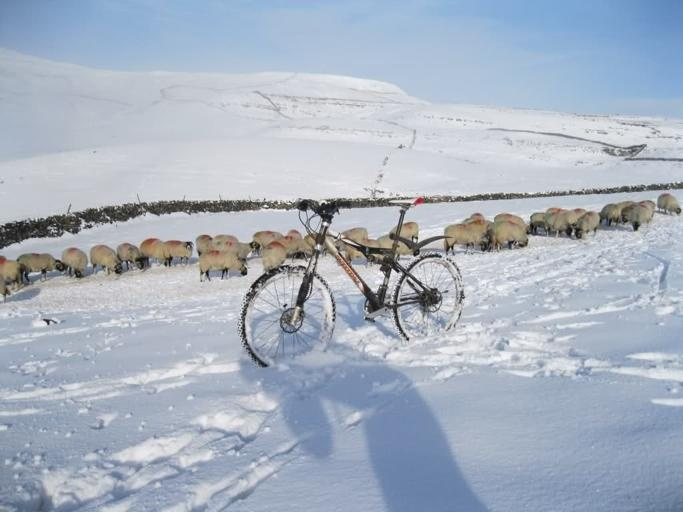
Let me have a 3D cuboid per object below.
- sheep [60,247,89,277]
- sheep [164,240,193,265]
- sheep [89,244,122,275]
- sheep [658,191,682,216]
[{"bbox_3d":[-7.786,0.150,21.940,0.537,0.700,1.204,2,19,-33],"label":"sheep"},{"bbox_3d":[-5.098,-0.176,23.277,1.238,0.762,0.557,1,7,19],"label":"sheep"},{"bbox_3d":[-7.089,0.133,22.375,1.208,0.705,0.402,24,24,23],"label":"sheep"},{"bbox_3d":[12.689,-2.030,28.807,0.528,0.789,1.572,-3,5,17],"label":"sheep"}]
